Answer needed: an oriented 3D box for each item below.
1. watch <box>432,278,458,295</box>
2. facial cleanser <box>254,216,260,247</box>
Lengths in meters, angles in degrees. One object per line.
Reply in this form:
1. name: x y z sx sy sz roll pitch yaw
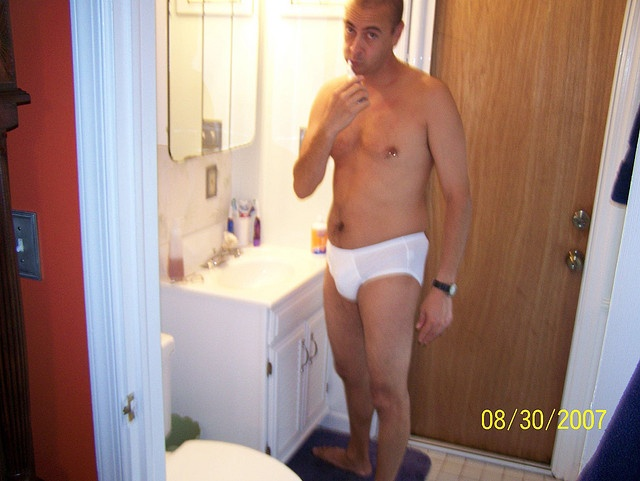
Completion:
1. watch: 0.466 0.180 1.968 0.073 0.056 0.081 13 -6 31
2. facial cleanser: -0.324 -0.045 2.726 0.043 0.146 0.058 -3 20 -19
